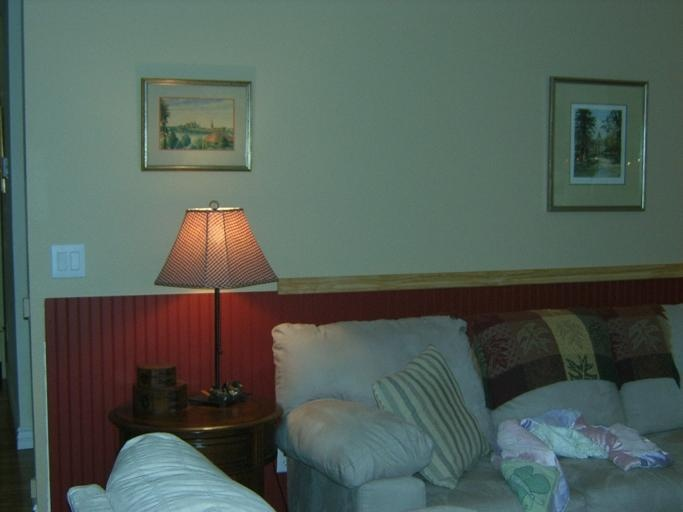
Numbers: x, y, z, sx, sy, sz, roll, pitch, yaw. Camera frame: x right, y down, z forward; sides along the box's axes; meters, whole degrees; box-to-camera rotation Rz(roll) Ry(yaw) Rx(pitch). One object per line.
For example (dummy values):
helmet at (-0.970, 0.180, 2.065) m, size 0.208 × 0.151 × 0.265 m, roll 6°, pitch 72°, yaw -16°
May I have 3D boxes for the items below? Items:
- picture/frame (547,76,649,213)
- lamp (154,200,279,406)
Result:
picture/frame at (1.344, -0.611, 3.474) m, size 0.648 × 0.844 × 0.028 m, roll -1°, pitch 5°, yaw -15°
lamp at (-0.547, 0.198, 2.805) m, size 0.442 × 0.863 × 0.335 m, roll 1°, pitch 3°, yaw 36°
